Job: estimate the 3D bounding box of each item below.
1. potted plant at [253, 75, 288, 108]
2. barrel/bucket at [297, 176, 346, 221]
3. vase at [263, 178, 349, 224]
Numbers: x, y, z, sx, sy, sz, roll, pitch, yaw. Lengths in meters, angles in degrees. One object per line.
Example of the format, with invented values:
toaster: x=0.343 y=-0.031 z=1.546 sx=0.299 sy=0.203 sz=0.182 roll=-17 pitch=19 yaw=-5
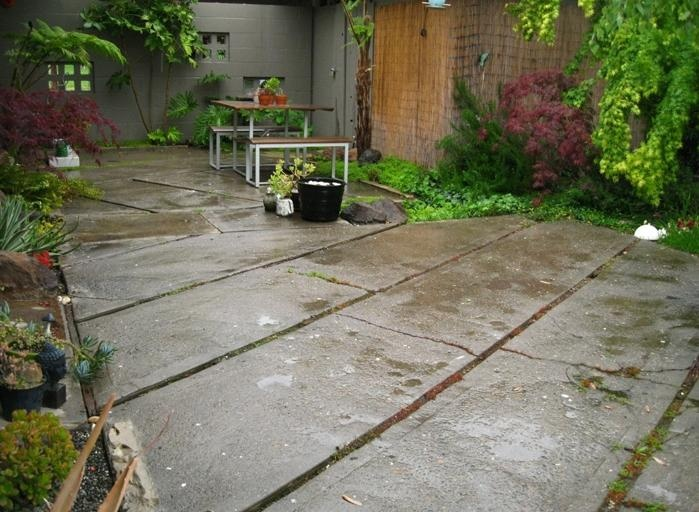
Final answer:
potted plant: x=-1.473 y=-3.005 z=8.900 sx=0.579 sy=0.499 sz=0.646 roll=-2 pitch=17 yaw=-10
barrel/bucket: x=-0.406 y=-0.766 z=6.576 sx=0.637 sy=0.400 sz=0.623 roll=0 pitch=7 yaw=0
vase: x=-0.403 y=-0.722 z=6.640 sx=0.754 sy=0.475 sz=0.792 roll=1 pitch=3 yaw=3
